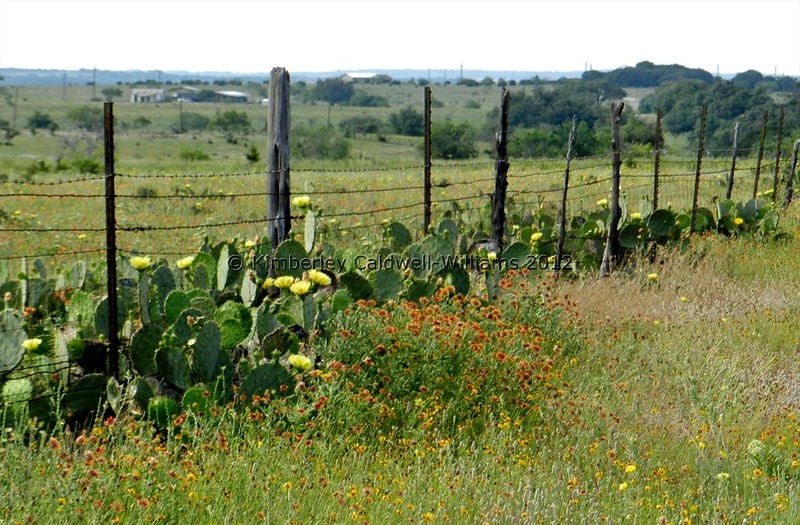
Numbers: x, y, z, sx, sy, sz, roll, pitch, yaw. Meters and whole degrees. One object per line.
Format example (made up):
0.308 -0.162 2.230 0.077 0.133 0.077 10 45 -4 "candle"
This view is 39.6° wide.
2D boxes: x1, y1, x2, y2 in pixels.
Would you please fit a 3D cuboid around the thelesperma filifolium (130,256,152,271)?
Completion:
-3.075 0.005 13.137 0.211 0.175 0.216 1 -3 -33 "thelesperma filifolium"

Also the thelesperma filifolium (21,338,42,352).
-4.200 0.949 12.716 0.195 0.191 0.271 -3 14 -16 "thelesperma filifolium"
